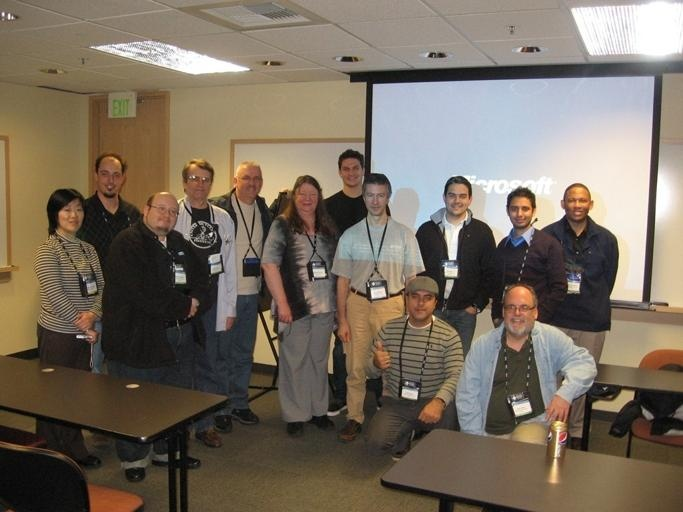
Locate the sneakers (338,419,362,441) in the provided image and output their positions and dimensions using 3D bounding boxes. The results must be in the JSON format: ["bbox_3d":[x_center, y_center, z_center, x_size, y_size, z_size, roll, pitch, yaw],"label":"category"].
[{"bbox_3d":[0.073,1.500,4.880,0.097,0.120,0.248,12,-4,23],"label":"sneakers"}]

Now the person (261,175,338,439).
[{"bbox_3d":[-0.356,0.427,4.813,0.613,2.171,0.348,1,10,1],"label":"person"}]

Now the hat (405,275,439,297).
[{"bbox_3d":[0.600,0.221,4.198,0.220,0.129,0.153,1,10,3],"label":"hat"}]

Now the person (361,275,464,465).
[{"bbox_3d":[0.532,0.914,4.223,0.771,1.401,0.805,-6,14,-36],"label":"person"}]

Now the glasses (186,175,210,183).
[{"bbox_3d":[-1.138,-0.607,4.470,0.215,0.086,0.103,-2,11,-16],"label":"glasses"}]

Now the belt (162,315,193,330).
[{"bbox_3d":[-1.196,0.473,4.054,0.121,0.050,0.204,-1,-3,10],"label":"belt"}]

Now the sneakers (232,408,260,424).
[{"bbox_3d":[-0.875,1.449,5.171,0.274,0.127,0.107,4,3,27],"label":"sneakers"}]

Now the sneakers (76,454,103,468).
[{"bbox_3d":[-1.950,1.559,4.310,0.084,0.043,0.137,1,-2,44],"label":"sneakers"}]

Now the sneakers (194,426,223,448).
[{"bbox_3d":[-1.116,1.490,4.718,0.236,0.110,0.123,6,9,37],"label":"sneakers"}]

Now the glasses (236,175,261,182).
[{"bbox_3d":[-0.807,-0.671,4.877,0.212,0.054,0.101,-2,11,-14],"label":"glasses"}]

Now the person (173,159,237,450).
[{"bbox_3d":[-1.181,0.385,4.827,0.762,2.657,0.650,2,30,-11],"label":"person"}]

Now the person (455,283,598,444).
[{"bbox_3d":[1.165,0.869,3.642,0.618,1.339,0.863,-5,3,-37],"label":"person"}]
